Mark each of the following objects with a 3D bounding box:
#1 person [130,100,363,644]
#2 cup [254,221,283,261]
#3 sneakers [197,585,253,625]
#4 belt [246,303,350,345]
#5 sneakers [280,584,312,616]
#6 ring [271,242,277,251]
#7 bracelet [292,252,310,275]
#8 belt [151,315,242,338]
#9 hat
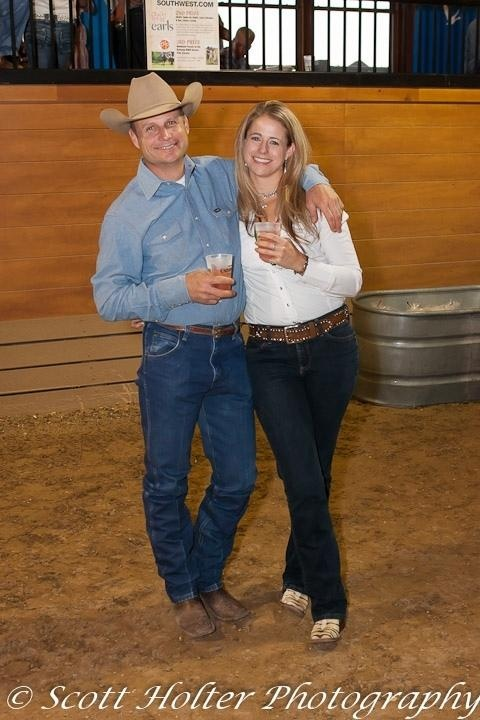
[{"bbox_3d":[0.164,0.053,1.833,0.369,1.617,0.346,-5,6,-26],"label":"person"},{"bbox_3d":[0.075,-0.337,1.667,0.078,0.073,0.070,3,6,-2],"label":"cup"},{"bbox_3d":[-0.055,0.818,2.036,0.083,0.063,0.170,-16,15,-42],"label":"sneakers"},{"bbox_3d":[0.173,-0.105,1.811,0.306,0.108,0.161,-1,6,1],"label":"belt"},{"bbox_3d":[0.175,0.786,2.014,0.067,0.057,0.135,26,-14,14],"label":"sneakers"},{"bbox_3d":[0.087,-0.293,1.595,0.008,0.018,0.011,-1,6,12],"label":"ring"},{"bbox_3d":[0.165,-0.259,1.664,0.021,0.055,0.048,-2,27,36],"label":"bracelet"},{"bbox_3d":[-0.120,-0.086,1.801,0.251,0.043,0.096,-2,6,-10],"label":"belt"},{"bbox_3d":[-0.238,-0.749,1.858,0.269,0.110,0.277,-18,4,3],"label":"hat"}]
